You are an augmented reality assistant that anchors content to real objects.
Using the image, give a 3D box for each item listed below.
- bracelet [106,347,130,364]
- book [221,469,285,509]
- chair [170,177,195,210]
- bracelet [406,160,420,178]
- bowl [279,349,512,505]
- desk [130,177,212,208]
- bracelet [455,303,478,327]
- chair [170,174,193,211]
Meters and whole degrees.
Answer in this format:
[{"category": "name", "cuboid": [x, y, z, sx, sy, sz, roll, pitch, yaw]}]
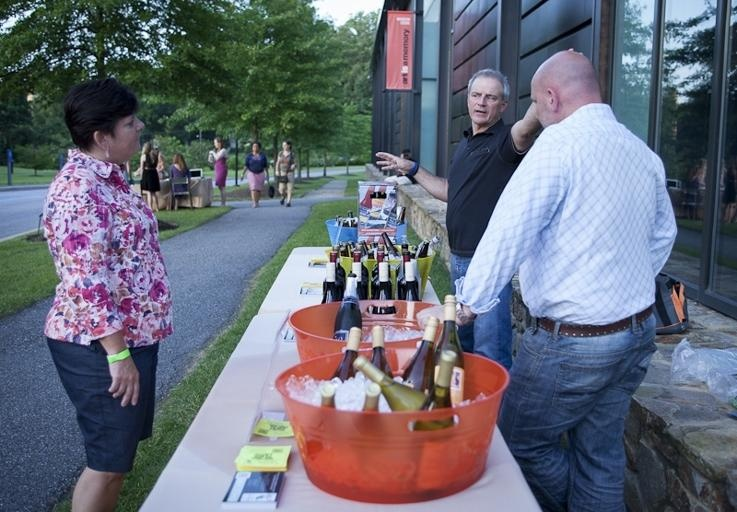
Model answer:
[{"category": "bracelet", "cuboid": [-1.094, 0.440, 2.356, 0.069, 0.041, 0.070, -20, 6, 11]}, {"category": "book", "cuboid": [-0.378, 0.774, 1.784, 0.178, 0.047, 0.127, 1, 13, 2]}, {"category": "chair", "cuboid": [-5.789, -2.040, 16.595, 0.664, 1.274, 0.886, -4, 45, -15]}, {"category": "bracelet", "cuboid": [0.343, -0.656, 4.120, 0.042, 0.123, 0.093, 25, 24, -10]}, {"category": "bowl", "cuboid": [0.065, 0.605, 1.703, 0.492, 0.214, 0.525, -2, 3, 0]}, {"category": "desk", "cuboid": [-5.653, -2.021, 17.206, 1.554, 0.919, 1.706, 0, 5, 4]}, {"category": "bracelet", "cuboid": [0.412, 0.249, 2.292, 0.093, 0.106, 0.076, 4, 37, -6]}, {"category": "chair", "cuboid": [-5.822, -1.966, 16.759, 0.591, 1.014, 0.703, -4, 12, -7]}]
